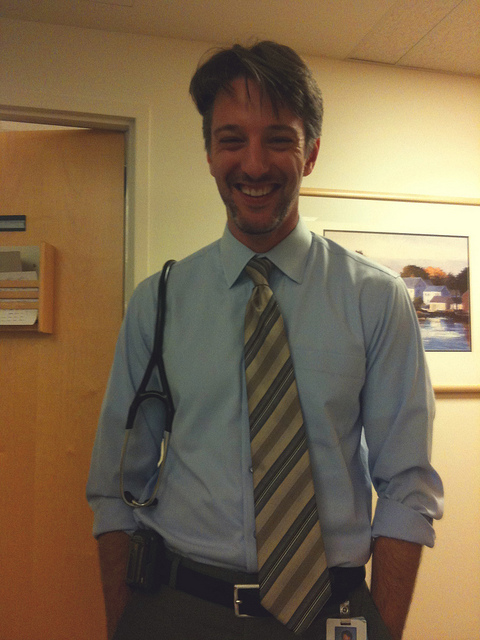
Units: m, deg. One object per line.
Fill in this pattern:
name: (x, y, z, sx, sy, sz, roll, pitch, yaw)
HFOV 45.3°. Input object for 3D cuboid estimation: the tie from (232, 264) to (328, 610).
tie: (0.067, 0.171, 0.969, 0.116, 0.542, 0.206, 0, 1, -6)

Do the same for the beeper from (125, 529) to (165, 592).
beeper: (-0.181, 0.406, 1.015, 0.055, 0.114, 0.056, 12, 15, 7)
